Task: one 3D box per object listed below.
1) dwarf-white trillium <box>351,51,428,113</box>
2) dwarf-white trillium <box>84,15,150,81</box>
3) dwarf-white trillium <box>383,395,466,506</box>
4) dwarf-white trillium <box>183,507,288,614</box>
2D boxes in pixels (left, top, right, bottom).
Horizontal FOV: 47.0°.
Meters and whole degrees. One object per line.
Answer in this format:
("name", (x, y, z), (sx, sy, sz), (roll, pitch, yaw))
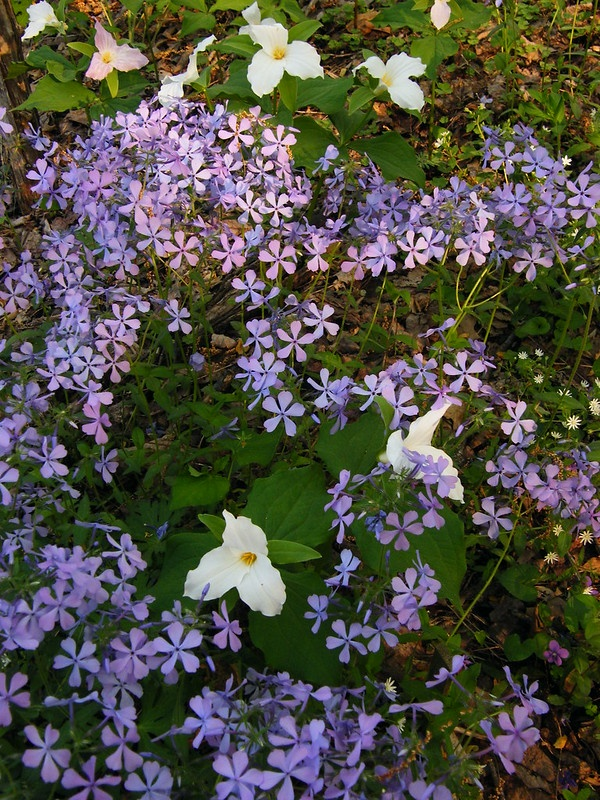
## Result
("dwarf-white trillium", (0.414, -1.364, 3.015), (0.243, 0.267, 0.292), (-20, 31, -33))
("dwarf-white trillium", (-0.909, -1.634, 3.230), (0.273, 0.256, 0.347), (-20, 39, -29))
("dwarf-white trillium", (0.324, 0.145, 1.821), (0.216, 0.264, 0.193), (-3, 19, 0))
("dwarf-white trillium", (-0.176, 0.443, 1.863), (0.265, 0.240, 0.159), (0, 34, -2))
